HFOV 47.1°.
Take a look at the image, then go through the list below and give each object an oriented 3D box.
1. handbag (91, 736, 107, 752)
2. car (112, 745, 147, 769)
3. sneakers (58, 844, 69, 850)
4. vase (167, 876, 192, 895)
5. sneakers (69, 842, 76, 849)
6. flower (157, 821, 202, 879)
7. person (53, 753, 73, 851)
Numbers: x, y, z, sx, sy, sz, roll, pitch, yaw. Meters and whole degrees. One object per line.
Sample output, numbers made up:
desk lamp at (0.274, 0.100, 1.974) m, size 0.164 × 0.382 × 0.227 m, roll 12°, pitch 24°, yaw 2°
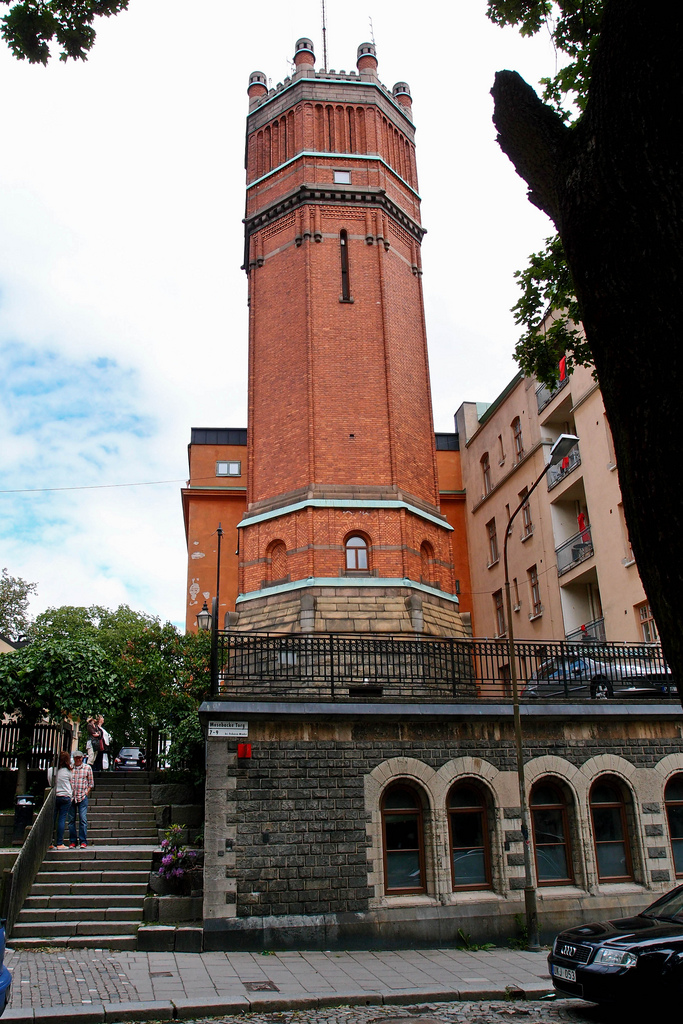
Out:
handbag at (-5.977, 5.658, 19.276) m, size 0.364 × 0.341 × 0.486 m, roll 6°, pitch -22°, yaw -16°
car at (-8.836, 10.298, 32.651) m, size 1.452 × 1.072 × 3.156 m, roll 2°, pitch -15°, yaw -4°
sneakers at (-5.113, 6.152, 14.380) m, size 0.250 × 0.113 × 0.082 m, roll 6°, pitch -11°, yaw -16°
vase at (-2.632, 6.092, 12.799) m, size 0.312 × 0.304 × 0.179 m, roll 0°, pitch -10°, yaw -2°
sneakers at (-5.028, 6.244, 14.665) m, size 0.109 × 0.105 × 0.186 m, roll 3°, pitch -3°, yaw -17°
flower at (-2.767, 5.783, 13.426) m, size 0.592 × 0.275 × 0.884 m, roll 4°, pitch 1°, yaw 0°
person at (-5.241, 5.420, 14.733) m, size 0.363 × 1.630 × 0.727 m, roll 6°, pitch -22°, yaw -16°
